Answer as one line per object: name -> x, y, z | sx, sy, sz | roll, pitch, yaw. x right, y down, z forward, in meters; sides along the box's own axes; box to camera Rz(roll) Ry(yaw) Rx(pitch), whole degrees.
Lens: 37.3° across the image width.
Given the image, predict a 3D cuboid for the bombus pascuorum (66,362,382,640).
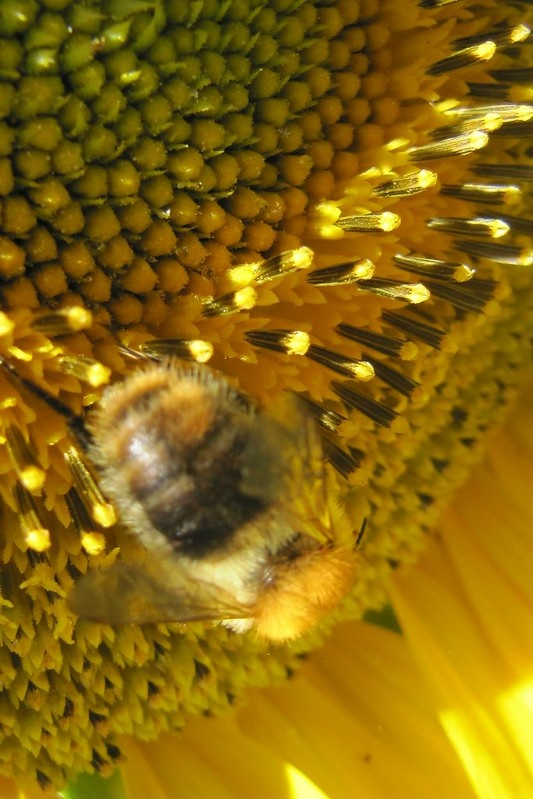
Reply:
bombus pascuorum -> -0.039, 0.135, 0.820 | 0.144, 0.329, 0.239 | 15, 53, 32
